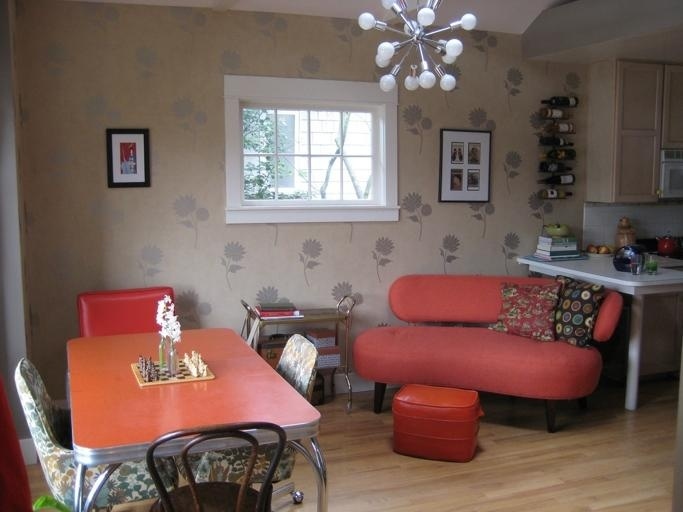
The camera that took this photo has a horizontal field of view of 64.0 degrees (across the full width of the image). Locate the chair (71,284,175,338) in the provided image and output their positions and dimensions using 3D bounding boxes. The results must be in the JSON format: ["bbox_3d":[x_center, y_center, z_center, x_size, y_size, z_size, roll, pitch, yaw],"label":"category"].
[{"bbox_3d":[-1.559,0.403,3.963,0.641,0.285,0.209,-4,13,-17],"label":"chair"}]

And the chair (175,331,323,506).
[{"bbox_3d":[-0.491,0.839,2.897,0.665,1.091,0.634,-1,8,-26],"label":"chair"}]

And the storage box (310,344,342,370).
[{"bbox_3d":[-0.124,0.828,4.399,0.280,0.177,0.283,-1,-3,-9],"label":"storage box"}]

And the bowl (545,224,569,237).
[{"bbox_3d":[1.960,-0.226,5.030,0.158,0.085,0.174,-1,1,-13],"label":"bowl"}]

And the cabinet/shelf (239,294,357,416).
[{"bbox_3d":[-0.365,0.811,4.718,0.950,0.905,0.680,1,6,-22],"label":"cabinet/shelf"}]

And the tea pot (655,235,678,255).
[{"bbox_3d":[3.145,-0.098,5.330,0.222,0.183,0.162,7,9,39],"label":"tea pot"}]

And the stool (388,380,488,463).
[{"bbox_3d":[0.654,1.171,3.837,0.592,0.433,0.353,0,11,26],"label":"stool"}]

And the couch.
[{"bbox_3d":[1.100,0.739,4.434,1.936,0.977,0.917,2,12,11],"label":"couch"}]

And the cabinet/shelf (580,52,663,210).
[{"bbox_3d":[2.598,-1.115,5.138,0.684,1.238,0.282,0,8,-9],"label":"cabinet/shelf"}]

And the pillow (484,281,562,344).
[{"bbox_3d":[1.504,0.447,4.447,0.507,0.504,0.147,18,-11,43],"label":"pillow"}]

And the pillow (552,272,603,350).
[{"bbox_3d":[1.823,0.436,4.215,0.136,0.445,0.463,11,1,-18],"label":"pillow"}]

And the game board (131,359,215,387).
[{"bbox_3d":[-0.846,0.614,2.942,0.440,0.058,0.497,4,2,-16],"label":"game board"}]

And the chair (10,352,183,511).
[{"bbox_3d":[-1.213,0.894,2.730,0.649,0.887,0.630,0,8,-19],"label":"chair"}]

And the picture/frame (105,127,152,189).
[{"bbox_3d":[-1.647,-0.746,4.205,0.313,0.437,0.082,-3,13,-12],"label":"picture/frame"}]
